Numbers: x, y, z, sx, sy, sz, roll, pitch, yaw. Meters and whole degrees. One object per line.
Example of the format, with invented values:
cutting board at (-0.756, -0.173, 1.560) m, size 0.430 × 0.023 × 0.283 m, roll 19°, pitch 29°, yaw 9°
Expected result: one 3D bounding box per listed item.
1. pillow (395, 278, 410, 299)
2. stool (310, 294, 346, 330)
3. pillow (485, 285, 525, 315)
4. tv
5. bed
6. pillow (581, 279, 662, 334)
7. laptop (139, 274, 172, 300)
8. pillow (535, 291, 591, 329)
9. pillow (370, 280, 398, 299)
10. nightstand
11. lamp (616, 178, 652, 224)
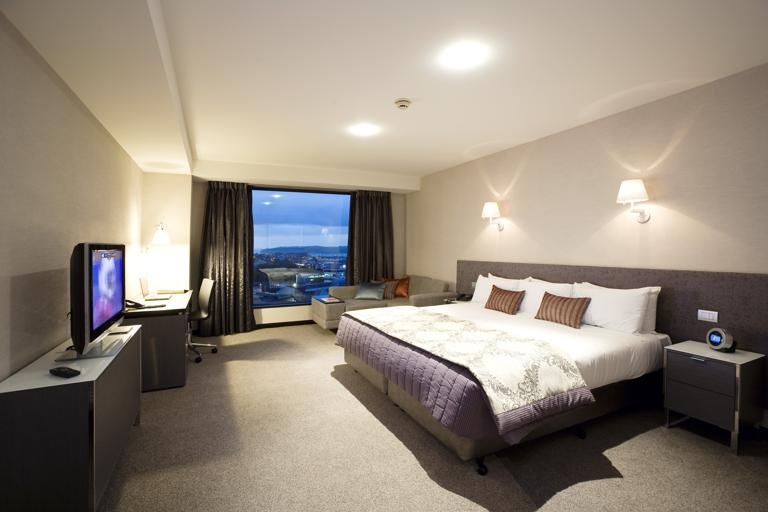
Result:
pillow at (0.304, 0.575, 8.125) m, size 0.303 × 0.287 × 0.089 m, roll 6°, pitch -21°, yaw -18°
stool at (-0.947, 0.896, 7.444) m, size 0.456 × 0.591 × 0.866 m, roll -1°, pitch 1°, yaw -23°
pillow at (1.496, 0.551, 5.743) m, size 0.121 × 0.281 × 0.416 m, roll 31°, pitch -11°, yaw -26°
tv at (-2.454, 0.392, 3.808) m, size 0.473 × 1.019 × 1.040 m, roll -2°, pitch 1°, yaw -18°
bed at (1.165, 0.945, 4.899) m, size 2.425 × 1.215 × 2.342 m, roll -5°, pitch 11°, yaw -31°
pillow at (2.477, 0.554, 4.810) m, size 0.197 × 0.334 × 0.546 m, roll 15°, pitch -8°, yaw -28°
laptop at (-2.876, 0.429, 5.792) m, size 0.309 × 0.262 × 0.418 m, roll 1°, pitch -1°, yaw -19°
pillow at (1.974, 0.590, 5.100) m, size 0.142 × 0.321 × 0.469 m, roll 30°, pitch -11°, yaw -25°
pillow at (0.051, 0.593, 7.997) m, size 0.342 × 0.310 × 0.099 m, roll 9°, pitch -19°, yaw -25°
nightstand at (3.029, 1.265, 4.309) m, size 0.486 × 0.816 × 0.747 m, roll -9°, pitch 14°, yaw -44°
lamp at (2.616, -0.580, 4.885) m, size 0.340 × 0.470 × 0.262 m, roll 10°, pitch 14°, yaw 41°
